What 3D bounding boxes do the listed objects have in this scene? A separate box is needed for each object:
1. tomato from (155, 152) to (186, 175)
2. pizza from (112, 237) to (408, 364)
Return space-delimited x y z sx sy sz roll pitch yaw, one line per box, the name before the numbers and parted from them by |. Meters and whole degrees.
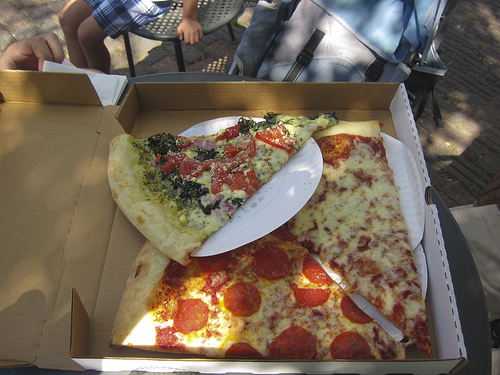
tomato | -0.547 -0.144 2.989 0.146 0.048 0.152 -19 58 -11
pizza | 0.033 0.640 2.623 1.572 0.135 0.679 5 57 -4
